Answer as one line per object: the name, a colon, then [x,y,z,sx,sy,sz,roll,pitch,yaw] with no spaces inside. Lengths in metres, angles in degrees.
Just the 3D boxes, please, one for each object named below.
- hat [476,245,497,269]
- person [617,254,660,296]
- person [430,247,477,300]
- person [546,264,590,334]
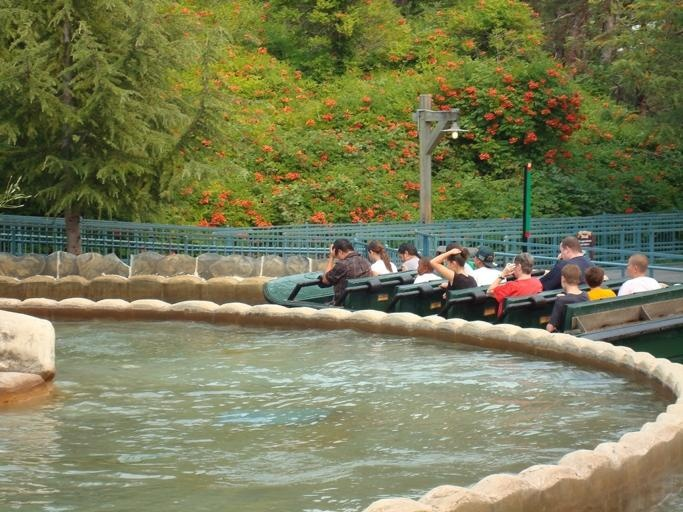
hat: [2.367,0.014,21.131,0.299,0.194,0.398,-2,18,-32]
person: [4.966,0.356,21.027,0.975,0.497,0.421,-4,9,-22]
person: [1.828,0.334,20.924,0.825,1.012,0.601,-14,24,-16]
person: [3.472,0.668,19.316,0.543,1.055,0.581,2,1,29]
